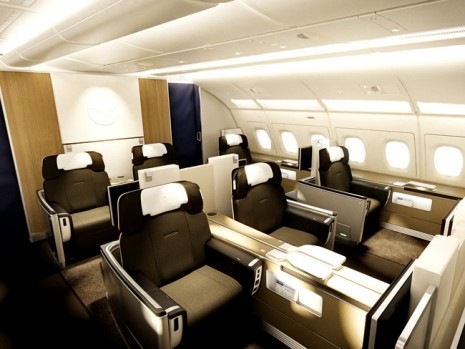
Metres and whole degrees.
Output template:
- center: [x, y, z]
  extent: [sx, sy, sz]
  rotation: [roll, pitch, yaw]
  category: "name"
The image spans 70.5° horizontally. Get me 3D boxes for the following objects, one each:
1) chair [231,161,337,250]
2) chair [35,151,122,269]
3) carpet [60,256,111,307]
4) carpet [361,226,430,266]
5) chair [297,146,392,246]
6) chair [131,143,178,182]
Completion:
- center: [0.530, 0.539, 3.660]
  extent: [0.853, 1.196, 0.886]
  rotation: [-12, 17, -36]
  category: "chair"
- center: [-1.983, 0.425, 4.476]
  extent: [0.977, 1.341, 1.050]
  rotation: [11, 20, 35]
  category: "chair"
- center: [-1.703, 1.347, 3.866]
  extent: [0.440, 0.024, 0.668]
  rotation: [12, 13, -43]
  category: "carpet"
- center: [2.298, 1.028, 4.700]
  extent: [0.754, 0.148, 0.826]
  rotation: [11, 22, 38]
  category: "carpet"
- center: [1.740, 0.280, 4.981]
  extent: [0.927, 1.333, 1.276]
  rotation: [9, 11, 42]
  category: "chair"
- center: [-1.250, -0.306, 5.212]
  extent: [0.751, 0.771, 0.546]
  rotation: [-11, 18, -38]
  category: "chair"
